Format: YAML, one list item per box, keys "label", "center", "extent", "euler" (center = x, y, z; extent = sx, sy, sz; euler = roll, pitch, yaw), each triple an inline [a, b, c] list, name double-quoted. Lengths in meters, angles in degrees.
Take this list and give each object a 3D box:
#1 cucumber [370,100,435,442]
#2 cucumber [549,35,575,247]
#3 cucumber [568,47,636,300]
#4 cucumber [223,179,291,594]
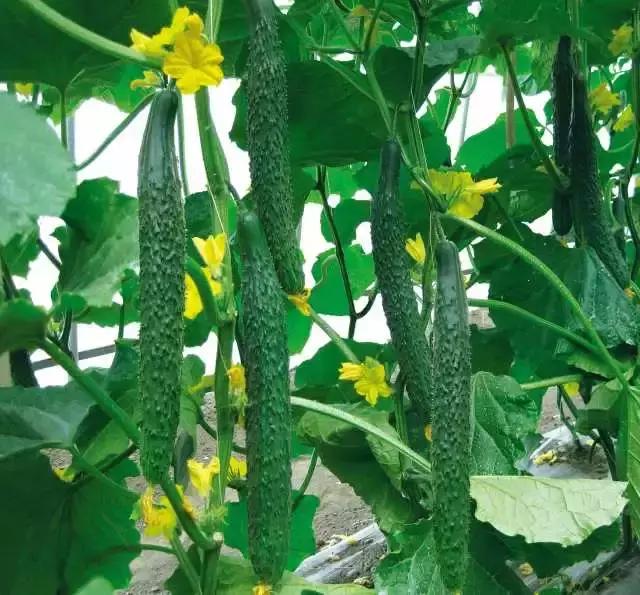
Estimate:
- label: "cucumber"
  center: [0.133, -0.059, 1.095]
  extent: [0.071, 0.422, 0.068]
  euler: [-3, 8, 23]
- label: "cucumber"
  center: [0.430, -0.297, 1.392]
  extent: [0.045, 0.340, 0.046]
  euler: [-2, 9, -6]
- label: "cucumber"
  center: [0.493, -0.195, 1.388]
  extent: [0.060, 0.555, 0.075]
  euler: [-7, 0, -30]
- label: "cucumber"
  center: [-0.072, 0.110, 0.881]
  extent: [0.056, 0.428, 0.062]
  euler: [-6, -5, 36]
